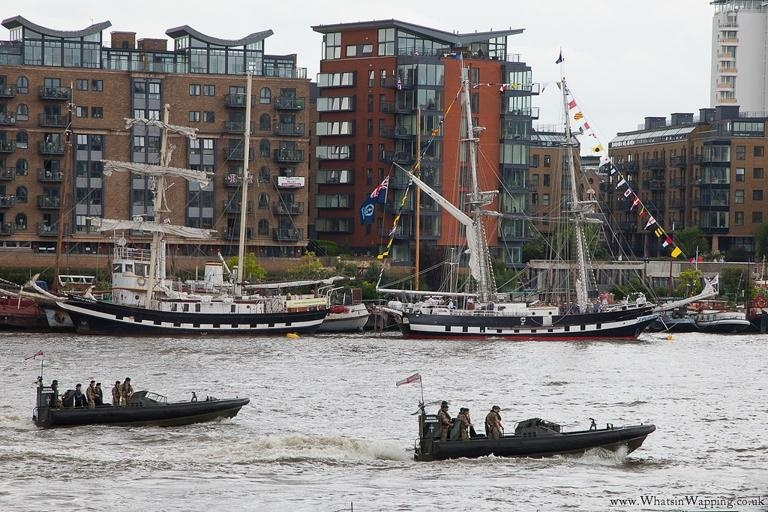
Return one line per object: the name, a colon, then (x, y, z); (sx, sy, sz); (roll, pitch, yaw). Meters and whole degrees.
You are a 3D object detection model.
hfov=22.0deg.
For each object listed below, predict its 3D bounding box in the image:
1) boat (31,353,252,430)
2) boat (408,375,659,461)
boat: (-18.423, 11.481, 150.444); (16.249, 4.044, 4.255); (-2, -11, -4)
boat: (10.653, 12.342, 146.326); (17.160, 6.059, 4.751); (-3, 0, 2)
